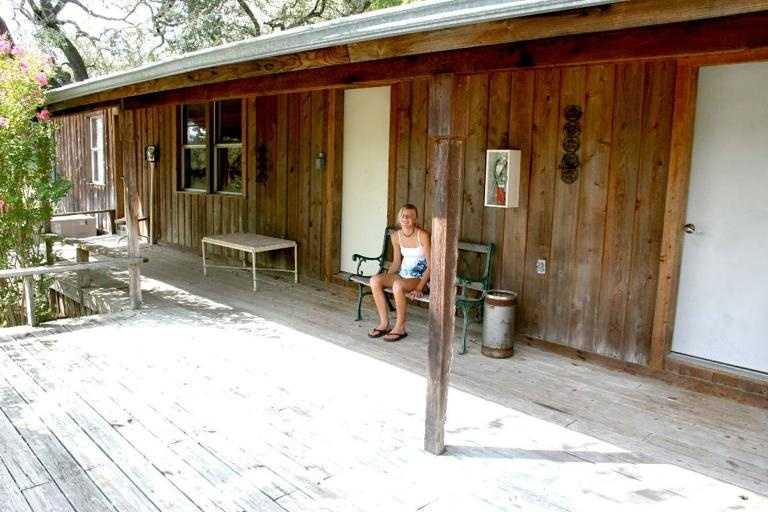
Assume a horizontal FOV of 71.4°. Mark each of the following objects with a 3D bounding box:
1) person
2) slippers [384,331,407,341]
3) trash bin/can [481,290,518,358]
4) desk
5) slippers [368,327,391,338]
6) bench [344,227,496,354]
[{"bbox_3d":[0.140,0.167,6.090,0.631,1.531,0.722,-1,7,-27],"label":"person"},{"bbox_3d":[0.132,0.893,6.006,0.285,0.102,0.181,1,6,-6],"label":"slippers"},{"bbox_3d":[1.198,0.747,5.583,0.306,0.646,0.136,2,7,0],"label":"trash bin/can"},{"bbox_3d":[-2.173,0.032,8.534,1.212,0.756,2.223,-3,7,-37],"label":"desk"},{"bbox_3d":[-0.045,0.864,6.089,0.113,0.053,0.204,3,3,43],"label":"slippers"},{"bbox_3d":[0.430,0.331,6.582,0.815,1.149,2.036,-10,11,-39],"label":"bench"}]
